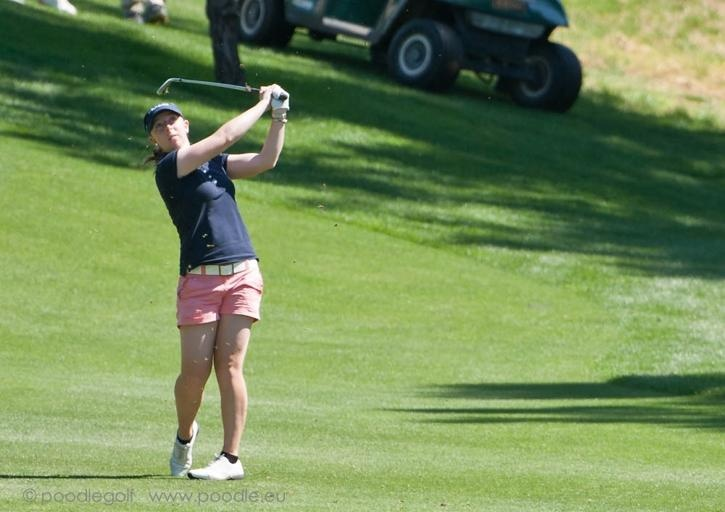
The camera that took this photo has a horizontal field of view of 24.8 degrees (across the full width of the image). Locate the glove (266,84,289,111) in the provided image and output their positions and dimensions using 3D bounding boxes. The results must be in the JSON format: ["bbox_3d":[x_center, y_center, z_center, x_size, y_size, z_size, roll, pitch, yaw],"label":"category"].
[{"bbox_3d":[-0.488,-0.913,9.706,0.134,0.170,0.188,-8,35,-5],"label":"glove"}]

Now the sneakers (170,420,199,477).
[{"bbox_3d":[-1.065,1.122,9.759,0.131,0.357,0.167,8,12,8],"label":"sneakers"}]

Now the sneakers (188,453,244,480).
[{"bbox_3d":[-0.851,1.217,9.639,0.354,0.148,0.132,4,-3,-8],"label":"sneakers"}]

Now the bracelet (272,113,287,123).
[{"bbox_3d":[-0.490,-0.812,9.662,0.070,0.063,0.056,9,6,16],"label":"bracelet"}]
